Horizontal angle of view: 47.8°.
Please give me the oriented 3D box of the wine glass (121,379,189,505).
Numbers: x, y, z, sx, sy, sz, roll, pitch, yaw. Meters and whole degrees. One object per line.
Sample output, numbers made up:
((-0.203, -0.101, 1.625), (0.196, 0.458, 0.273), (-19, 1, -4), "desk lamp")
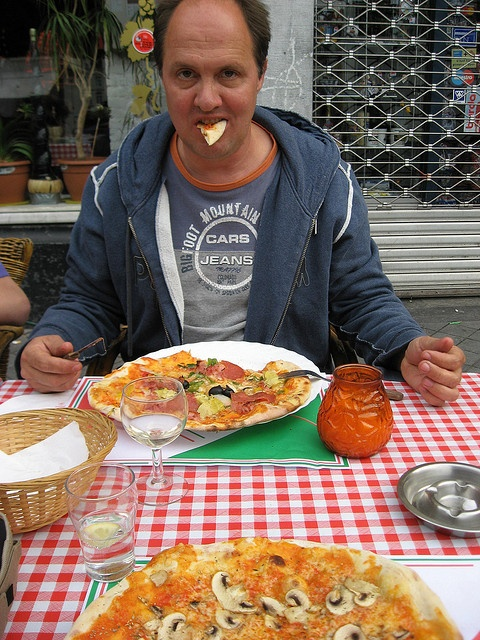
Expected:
((-0.163, 0.241, 1.052), (0.146, 0.231, 0.138), (-6, 29, -10), "wine glass")

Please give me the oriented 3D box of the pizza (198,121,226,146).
((-0.088, -0.629, 1.811), (0.097, 0.080, 0.029), (-1, 21, -2), "pizza")

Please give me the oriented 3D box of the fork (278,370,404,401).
((0.223, 0.155, 1.260), (0.236, 0.034, 0.035), (21, 25, 30), "fork")

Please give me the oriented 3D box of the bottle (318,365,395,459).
((0.237, 0.190, 1.206), (0.196, 0.181, 0.194), (-1, 20, 3), "bottle")
